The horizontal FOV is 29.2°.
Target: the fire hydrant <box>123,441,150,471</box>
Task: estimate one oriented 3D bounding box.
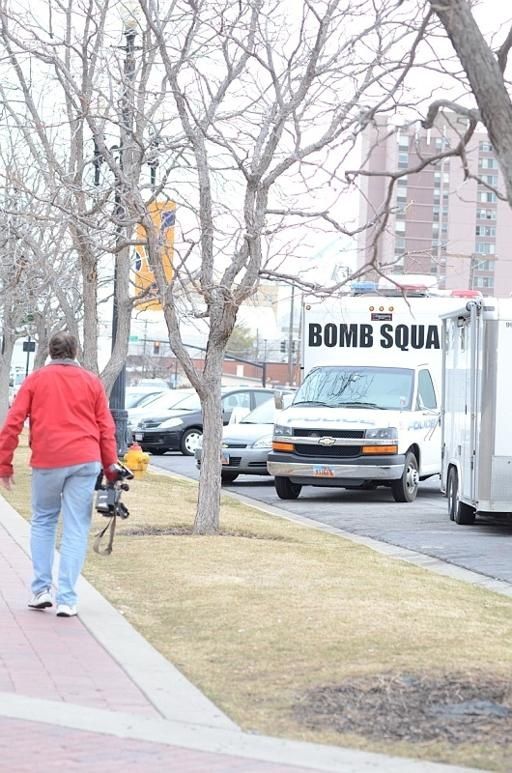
[{"bbox_3d":[-2.150,1.302,18.149,0.653,0.642,0.497,2,1,2],"label":"fire hydrant"}]

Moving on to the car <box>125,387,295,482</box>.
[{"bbox_3d":[0.082,0.893,19.242,1.924,1.486,3.371,-3,-7,38],"label":"car"}]

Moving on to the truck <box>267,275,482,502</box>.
[{"bbox_3d":[1.820,0.096,16.831,2.174,2.411,4.851,0,-3,20],"label":"truck"}]
